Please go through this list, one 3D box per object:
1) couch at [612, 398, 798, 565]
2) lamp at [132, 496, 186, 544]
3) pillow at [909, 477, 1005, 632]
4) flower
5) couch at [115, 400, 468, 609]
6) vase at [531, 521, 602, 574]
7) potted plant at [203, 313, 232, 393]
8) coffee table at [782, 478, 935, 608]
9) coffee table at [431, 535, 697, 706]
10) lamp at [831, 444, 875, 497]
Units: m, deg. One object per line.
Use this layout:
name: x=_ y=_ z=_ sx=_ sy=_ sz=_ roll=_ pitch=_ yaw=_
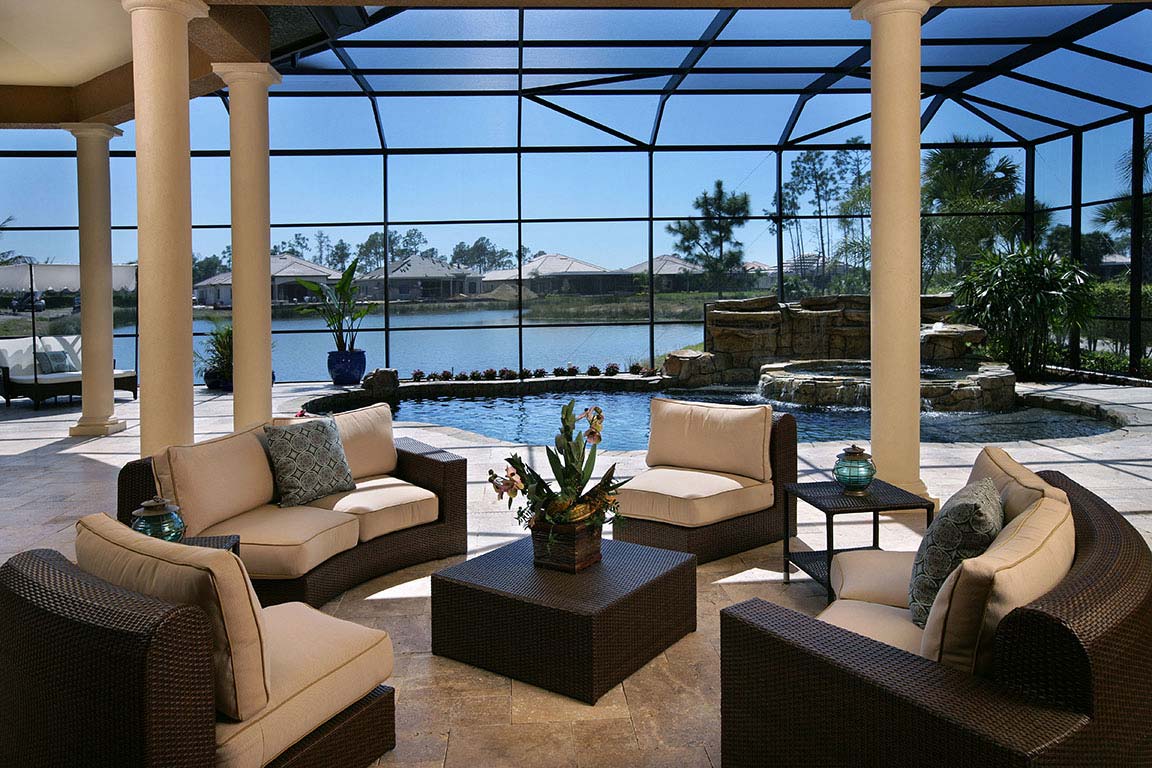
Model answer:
couch: x=0.771 y=0.624 z=5.672 sx=1.487 sy=0.850 sz=1.529 roll=0 pitch=8 yaw=22
lamp: x=-1.888 y=0.614 z=3.693 sx=0.237 sy=0.226 sz=0.244 roll=1 pitch=2 yaw=39
pillow: x=1.649 y=0.620 z=3.525 sx=0.333 sy=0.463 sz=0.635 roll=-3 pitch=20 yaw=30
flower: x=-0.057 y=0.443 z=4.326 sx=0.653 sy=0.707 sz=0.684 roll=11 pitch=11 yaw=4
couch: x=-1.675 y=0.214 z=4.915 sx=1.107 sy=1.168 sz=2.085 roll=2 pitch=4 yaw=31
vase: x=-0.054 y=0.864 z=4.440 sx=0.366 sy=0.197 sz=0.357 roll=-1 pitch=-2 yaw=20
potted plant: x=-5.554 y=-0.390 z=12.582 sx=0.428 sy=0.922 sz=1.115 roll=-6 pitch=15 yaw=-24
coffee table: x=1.587 y=0.748 z=4.897 sx=0.897 sy=0.805 sz=0.687 roll=-4 pitch=7 yaw=-20
coffee table: x=-0.042 y=1.200 z=4.486 sx=1.193 sy=0.442 sz=1.212 roll=2 pitch=7 yaw=27
lamp: x=1.679 y=0.510 z=4.888 sx=0.269 sy=0.270 sz=0.260 roll=-2 pitch=3 yaw=-22
